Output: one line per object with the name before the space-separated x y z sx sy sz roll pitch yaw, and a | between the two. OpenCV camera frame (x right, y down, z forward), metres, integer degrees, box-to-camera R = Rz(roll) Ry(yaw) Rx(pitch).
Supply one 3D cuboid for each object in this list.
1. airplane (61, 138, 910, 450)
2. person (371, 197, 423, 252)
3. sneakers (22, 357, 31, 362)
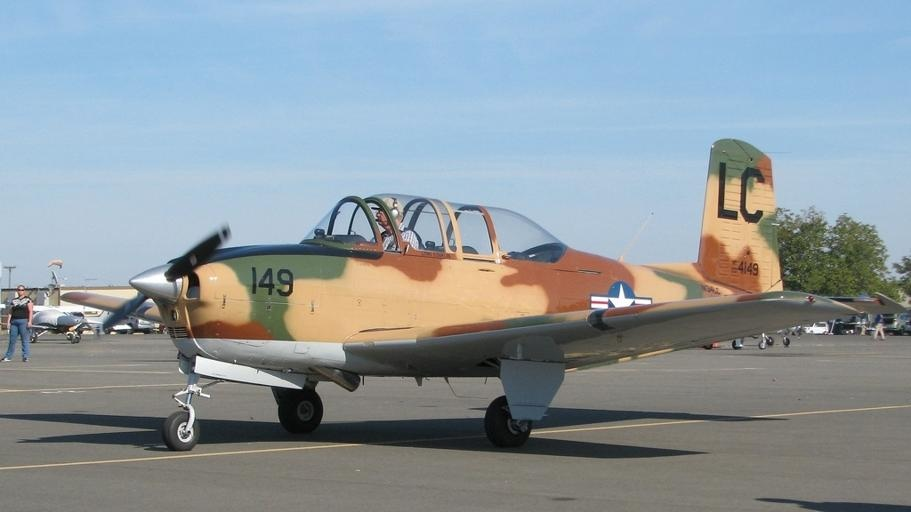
airplane | 0.602 0.466 18.494 11.408 5.296 5.722 -1 -1 -1
person | -1.018 -0.472 18.428 0.793 0.891 0.264 -12 -16 -32
sneakers | -11.835 2.854 30.309 0.177 0.147 0.402 0 -7 -17
